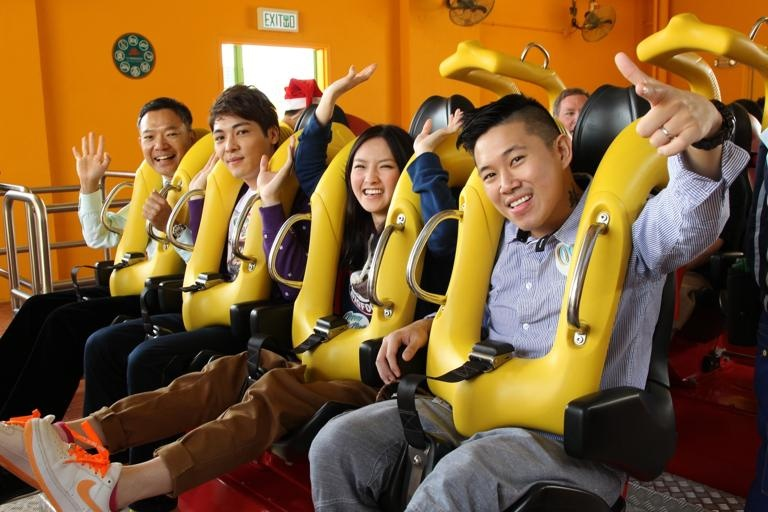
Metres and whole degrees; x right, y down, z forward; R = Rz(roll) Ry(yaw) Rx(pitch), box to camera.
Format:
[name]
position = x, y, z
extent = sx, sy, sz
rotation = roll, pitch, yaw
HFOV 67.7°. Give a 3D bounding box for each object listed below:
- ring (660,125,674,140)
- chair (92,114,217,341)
[ring]
position = 0.733, -0.318, 1.484
extent = 0.007, 0.028, 0.028
rotation = -39, 5, -7
[chair]
position = -1.139, -0.239, 3.376
extent = 0.759, 1.101, 0.366
rotation = 5, -6, 44
